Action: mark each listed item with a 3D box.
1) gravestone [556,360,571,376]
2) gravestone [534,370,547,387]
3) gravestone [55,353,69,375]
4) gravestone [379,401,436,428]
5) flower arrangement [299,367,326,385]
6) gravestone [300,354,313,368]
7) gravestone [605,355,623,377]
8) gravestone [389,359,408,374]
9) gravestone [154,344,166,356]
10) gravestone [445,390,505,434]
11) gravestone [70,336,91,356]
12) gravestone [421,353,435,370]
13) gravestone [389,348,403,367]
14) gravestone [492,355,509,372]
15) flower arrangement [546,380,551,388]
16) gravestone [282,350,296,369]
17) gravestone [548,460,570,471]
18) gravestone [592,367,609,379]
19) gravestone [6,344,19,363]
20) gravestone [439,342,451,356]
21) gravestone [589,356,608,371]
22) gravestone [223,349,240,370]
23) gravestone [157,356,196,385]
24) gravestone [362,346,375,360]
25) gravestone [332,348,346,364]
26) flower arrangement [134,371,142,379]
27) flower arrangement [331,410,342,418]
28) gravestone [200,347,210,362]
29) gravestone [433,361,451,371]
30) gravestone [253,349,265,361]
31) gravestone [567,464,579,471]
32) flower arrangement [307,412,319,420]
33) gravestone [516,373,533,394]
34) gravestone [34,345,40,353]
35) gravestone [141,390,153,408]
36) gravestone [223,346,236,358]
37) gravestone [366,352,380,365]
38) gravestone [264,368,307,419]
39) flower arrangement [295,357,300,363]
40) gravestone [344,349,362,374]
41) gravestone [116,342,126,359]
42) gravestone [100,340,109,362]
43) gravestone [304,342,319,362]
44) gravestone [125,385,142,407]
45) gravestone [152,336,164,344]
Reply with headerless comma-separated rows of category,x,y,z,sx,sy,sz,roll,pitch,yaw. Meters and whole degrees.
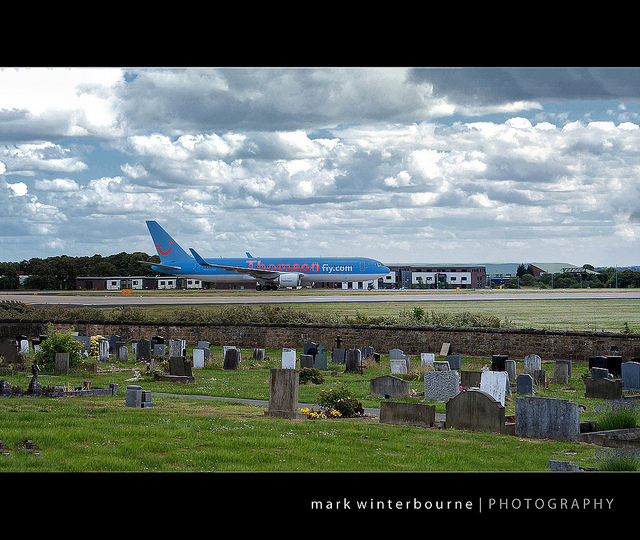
gravestone,7.219,3.006,33.811,0.360,0.682,0.488,2,2,37
gravestone,6.363,3.237,32.922,0.063,0.540,0.402,2,-6,-43
gravestone,-7.779,2.877,34.066,0.485,0.616,0.350,0,-3,2
gravestone,2.034,3.509,26.960,1.307,0.580,0.230,-1,-3,12
flower arrangement,-0.259,3.193,33.455,0.592,0.363,0.586,4,0,5
gravestone,-0.450,2.952,35.790,0.370,0.639,0.357,-2,4,-4
gravestone,8.822,2.954,33.913,0.523,0.957,0.524,-3,-2,20
gravestone,2.434,3.090,35.463,0.519,0.476,0.400,-3,-3,19
gravestone,-5.715,2.910,40.256,0.368,0.334,0.087,1,-9,5
gravestone,3.601,3.387,26.669,1.394,0.975,0.211,-1,-3,23
gravestone,-8.526,2.703,41.000,0.908,0.812,0.209,1,9,-24
gravestone,3.496,3.044,37.052,0.620,0.596,0.335,-1,-3,23
gravestone,2.446,2.953,36.933,0.585,0.768,0.084,0,-7,6
gravestone,5.461,2.927,34.739,0.400,0.414,0.848,0,-3,8
flower arrangement,6.730,3.429,33.581,0.148,0.176,0.133,-1,-1,26
gravestone,-1.015,2.838,34.972,0.505,0.703,0.522,0,-1,-7
gravestone,5.054,4.237,24.127,0.429,0.202,0.206,-1,-3,10
gravestone,7.966,2.921,32.404,0.276,0.447,0.473,-5,9,-21
gravestone,-9.601,2.649,35.162,0.561,0.543,0.268,-2,-4,34
gravestone,4.334,2.853,39.587,0.351,0.436,0.722,0,-3,6
gravestone,8.491,3.037,34.527,0.415,0.667,0.712,4,-6,-7
gravestone,-2.892,2.977,36.682,0.582,0.798,0.569,3,-3,-41
gravestone,-4.168,3.008,33.289,1.122,0.777,0.587,-2,-4,32
gravestone,1.642,2.991,39.882,0.193,0.334,0.353,-2,2,-23
gravestone,0.644,3.032,39.049,0.557,0.750,0.398,-1,2,11
flower arrangement,-5.515,3.273,34.482,0.146,0.151,0.297,9,2,-6
flower arrangement,0.376,3.594,27.814,0.244,0.170,0.190,-1,-3,14
gravestone,-3.930,2.957,38.712,0.272,0.486,0.416,-3,5,-9
gravestone,3.689,2.999,34.453,0.365,0.336,0.278,0,1,1
gravestone,-2.103,3.008,39.294,0.364,0.376,0.356,1,-2,-24
gravestone,5.341,4.250,24.018,0.241,0.131,0.127,0,-3,5
flower arrangement,-0.183,3.622,27.671,0.272,0.121,0.464,0,-3,2
gravestone,5.556,3.195,30.941,0.554,0.711,0.093,-1,-1,21
gravestone,-10.404,2.929,41.584,0.139,0.190,1.454,1,-3,-15
gravestone,-4.347,3.307,28.409,0.279,0.376,0.558,0,-3,-8
gravestone,-3.057,2.834,37.915,0.546,0.524,0.391,0,-5,-4
gravestone,1.833,3.059,38.507,0.315,0.572,0.313,-3,1,-5
gravestone,-0.898,3.066,27.563,0.939,1.203,0.419,-2,-4,28
flower arrangement,-0.794,3.181,39.036,0.194,0.076,0.260,0,-1,-22
gravestone,1.042,3.012,36.468,0.615,0.726,0.498,-1,-3,19
gravestone,-7.208,2.839,40.662,0.365,0.555,0.358,0,-6,-11
gravestone,-7.552,2.894,39.573,0.290,0.740,0.388,1,-3,-20
gravestone,-0.357,2.746,38.010,0.510,0.681,0.371,0,-7,2
gravestone,-4.654,3.222,28.241,0.484,0.621,0.268,-2,-4,15
gravestone,-5.968,2.749,41.773,0.403,0.398,0.225,6,22,19
